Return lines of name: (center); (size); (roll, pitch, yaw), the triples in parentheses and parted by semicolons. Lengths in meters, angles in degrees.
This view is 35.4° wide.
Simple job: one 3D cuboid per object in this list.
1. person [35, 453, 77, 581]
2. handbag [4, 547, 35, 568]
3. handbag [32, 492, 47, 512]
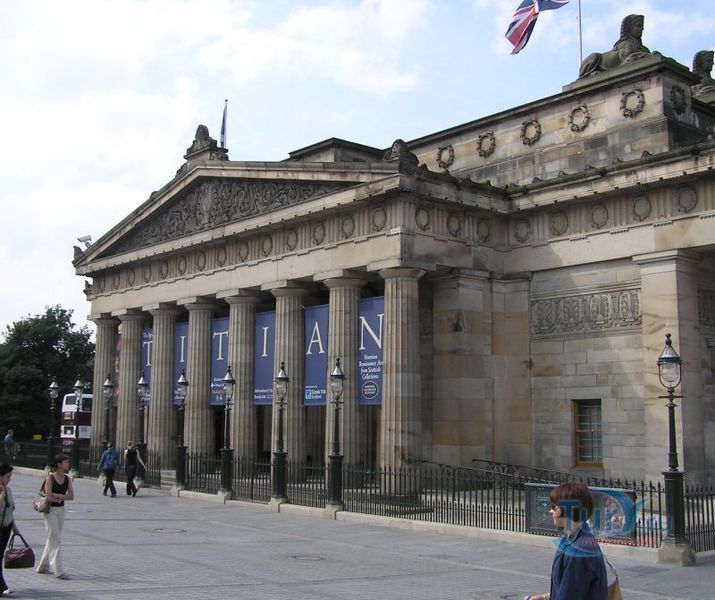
person: (-6.561, 4.636, 24.176); (0.756, 2.613, 0.854); (2, -11, -16)
handbag: (-6.757, 5.149, 22.500); (0.606, 0.713, 0.366); (4, -17, -20)
handbag: (-6.828, 4.355, 24.068); (0.232, 0.377, 0.409); (7, -14, -37)
